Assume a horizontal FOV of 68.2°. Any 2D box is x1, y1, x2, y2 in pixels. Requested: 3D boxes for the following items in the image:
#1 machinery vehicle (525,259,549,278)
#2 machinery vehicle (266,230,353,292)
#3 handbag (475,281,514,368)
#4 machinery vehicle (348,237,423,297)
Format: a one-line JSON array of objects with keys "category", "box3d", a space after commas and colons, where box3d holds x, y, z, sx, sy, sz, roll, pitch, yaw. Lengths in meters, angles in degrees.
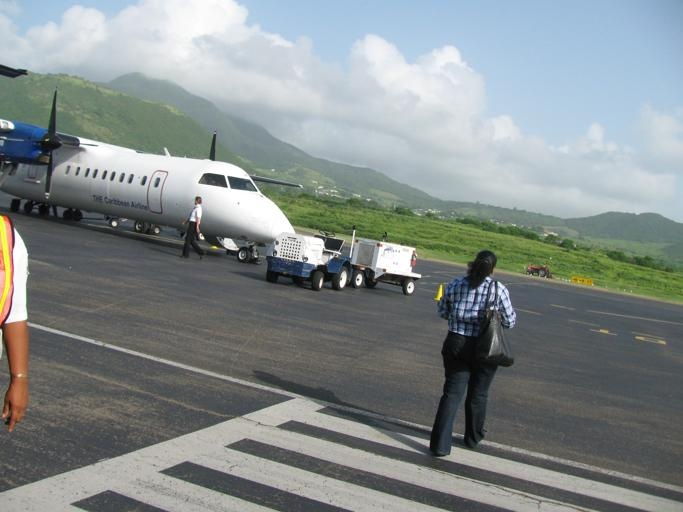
[{"category": "machinery vehicle", "box3d": [22.829, 1.642, 59.045, 2.244, 1.208, 1.366, 2, 5, 21]}, {"category": "machinery vehicle", "box3d": [-1.105, 0.237, 19.975, 2.615, 1.942, 4.093, 9, 2, 21]}, {"category": "handbag", "box3d": [1.987, 0.910, 6.384, 0.433, 1.050, 0.400, 11, 4, 26]}, {"category": "machinery vehicle", "box3d": [1.577, 0.413, 21.932, 3.500, 1.890, 1.930, 9, 2, -41]}]
